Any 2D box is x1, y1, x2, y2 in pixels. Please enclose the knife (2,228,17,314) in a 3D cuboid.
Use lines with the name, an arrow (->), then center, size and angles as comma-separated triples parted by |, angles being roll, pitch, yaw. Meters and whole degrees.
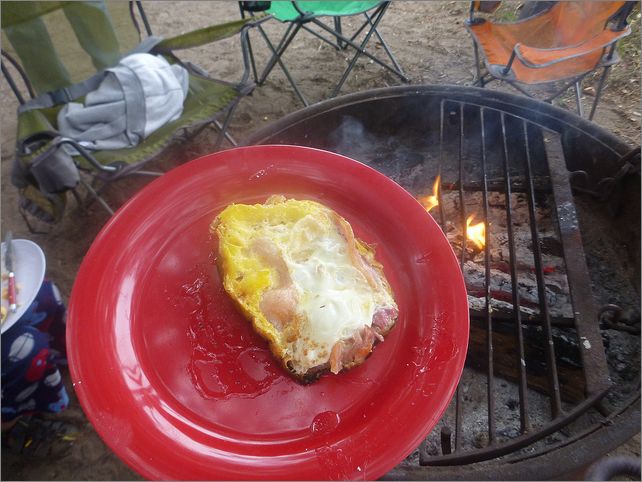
knife -> -1.750, 0.186, 3.082 | 0.060, 0.041, 0.504 | -5, 57, -13

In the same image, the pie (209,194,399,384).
pie -> -0.088, 0.198, 2.776 | 0.711, 0.230, 0.993 | -31, 73, -17
